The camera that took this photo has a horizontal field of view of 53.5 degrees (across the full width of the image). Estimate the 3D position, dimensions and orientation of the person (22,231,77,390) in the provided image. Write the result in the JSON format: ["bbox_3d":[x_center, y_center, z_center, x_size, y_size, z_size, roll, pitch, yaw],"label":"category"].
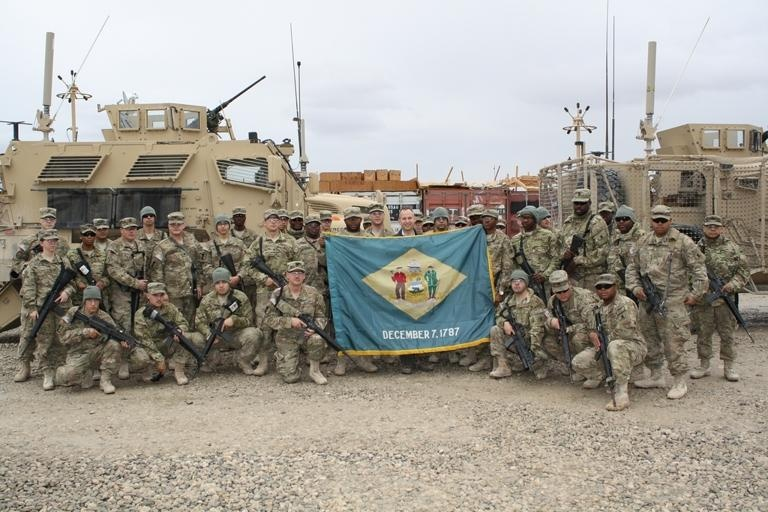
[{"bbox_3d":[-5.429,0.965,12.281,1.045,2.369,0.241,3,-14,1],"label":"person"}]

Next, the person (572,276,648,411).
[{"bbox_3d":[3.269,1.222,11.139,0.970,1.808,1.060,10,17,39],"label":"person"}]
